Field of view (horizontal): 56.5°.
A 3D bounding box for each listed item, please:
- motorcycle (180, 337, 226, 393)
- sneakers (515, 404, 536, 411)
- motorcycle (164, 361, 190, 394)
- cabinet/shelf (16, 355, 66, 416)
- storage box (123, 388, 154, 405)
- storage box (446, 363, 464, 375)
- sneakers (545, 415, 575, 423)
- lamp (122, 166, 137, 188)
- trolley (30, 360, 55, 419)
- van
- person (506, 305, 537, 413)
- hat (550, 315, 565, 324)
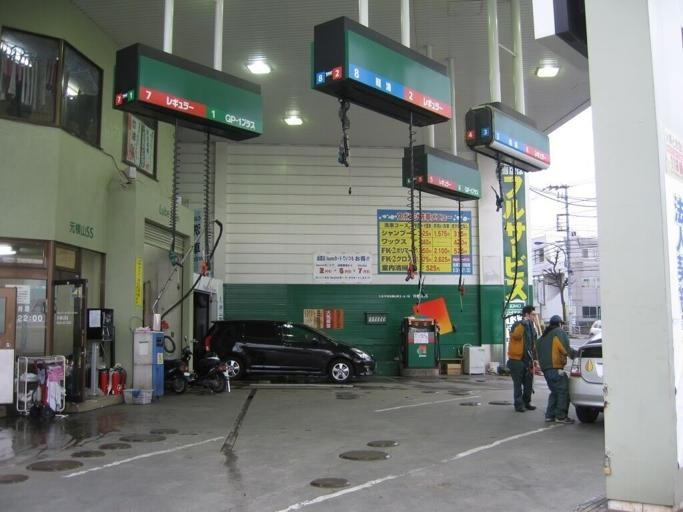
[{"bbox_3d":[-2.827,2.457,13.336,0.921,0.806,1.070,-1,-7,-3],"label":"motorcycle"},{"bbox_3d":[3.077,2.544,10.585,0.513,0.084,0.199,5,-10,-42],"label":"sneakers"},{"bbox_3d":[-3.466,2.477,13.080,0.829,0.568,0.402,2,-2,17],"label":"motorcycle"},{"bbox_3d":[-4.799,2.263,10.172,0.855,1.132,0.654,1,-40,-26],"label":"cabinet/shelf"},{"bbox_3d":[-3.727,2.567,11.583,0.533,0.264,0.492,0,-7,-10],"label":"storage box"},{"bbox_3d":[3.287,3.347,18.687,0.331,0.274,0.340,0,-8,-5],"label":"storage box"},{"bbox_3d":[3.267,2.471,9.523,0.380,0.177,0.150,-3,-6,9],"label":"sneakers"},{"bbox_3d":[-4.198,-1.545,12.581,0.228,0.441,0.426,-2,1,-35],"label":"lamp"},{"bbox_3d":[-4.657,2.110,9.995,0.358,0.880,0.306,-2,-10,32],"label":"trolley"},{"bbox_3d":[-1.419,2.327,15.875,3.525,1.339,1.777,0,-7,-4],"label":"van"},{"bbox_3d":[3.029,1.716,10.685,0.473,1.754,0.760,-3,-6,17],"label":"person"},{"bbox_3d":[3.294,0.990,9.782,0.205,0.116,0.148,-2,1,-33],"label":"hat"}]
